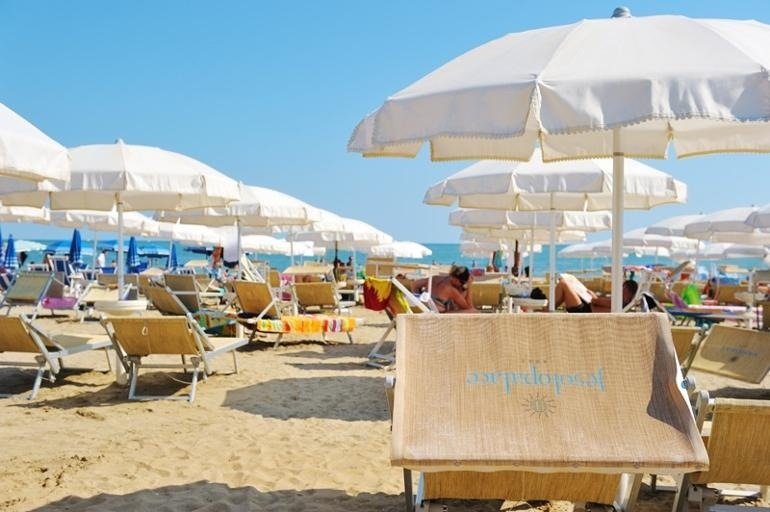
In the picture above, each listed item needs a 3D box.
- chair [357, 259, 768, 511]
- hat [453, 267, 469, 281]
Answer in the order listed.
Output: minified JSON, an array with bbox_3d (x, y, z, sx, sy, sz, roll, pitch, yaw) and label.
[{"bbox_3d":[1.242,1.081,7.344,2.409,1.665,1.604,0,-32,2],"label":"chair"},{"bbox_3d":[0.961,0.209,10.861,0.151,0.204,0.199,13,41,5],"label":"hat"}]
